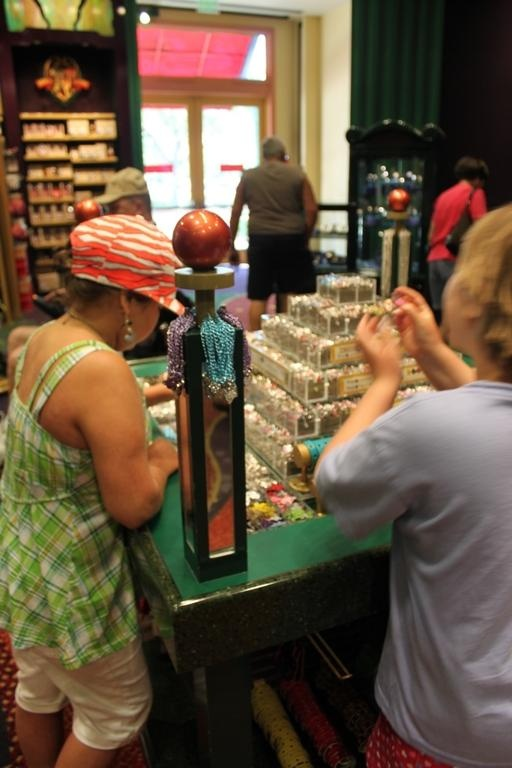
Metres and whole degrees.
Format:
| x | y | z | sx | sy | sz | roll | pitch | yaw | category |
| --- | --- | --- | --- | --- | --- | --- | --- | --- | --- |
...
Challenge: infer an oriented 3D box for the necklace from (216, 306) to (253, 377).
| x | y | z | sx | sy | sz | roll | pitch | yaw | category |
| --- | --- | --- | --- | --- | --- | --- | --- | --- | --- |
| -0.033 | -0.066 | 0.894 | 0.070 | 0.093 | 0.034 | 8 | -12 | 2 | necklace |

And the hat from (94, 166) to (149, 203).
| x | y | z | sx | sy | sz | roll | pitch | yaw | category |
| --- | --- | --- | --- | --- | --- | --- | --- | --- | --- |
| -0.943 | -1.370 | 4.190 | 0.373 | 0.206 | 0.244 | -22 | 39 | -27 | hat |

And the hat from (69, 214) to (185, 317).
| x | y | z | sx | sy | sz | roll | pitch | yaw | category |
| --- | --- | --- | --- | --- | --- | --- | --- | --- | --- |
| -0.208 | -0.206 | 1.038 | 0.265 | 0.170 | 0.144 | 13 | 24 | 37 | hat |

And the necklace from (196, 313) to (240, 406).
| x | y | z | sx | sy | sz | roll | pitch | yaw | category |
| --- | --- | --- | --- | --- | --- | --- | --- | --- | --- |
| -0.051 | -0.035 | 0.827 | 0.044 | 0.116 | 0.042 | 2 | 19 | 10 | necklace |

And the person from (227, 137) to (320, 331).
| x | y | z | sx | sy | sz | roll | pitch | yaw | category |
| --- | --- | --- | --- | --- | --- | --- | --- | --- | --- |
| 0.157 | -1.114 | 4.855 | 0.676 | 1.309 | 0.269 | 0 | 19 | 4 | person |

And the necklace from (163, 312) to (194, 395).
| x | y | z | sx | sy | sz | roll | pitch | yaw | category |
| --- | --- | --- | --- | --- | --- | --- | --- | --- | --- |
| -0.113 | -0.054 | 0.878 | 0.052 | 0.117 | 0.137 | -4 | 19 | -6 | necklace |

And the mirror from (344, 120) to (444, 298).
| x | y | z | sx | sy | sz | roll | pitch | yaw | category |
| --- | --- | --- | --- | --- | --- | --- | --- | --- | --- |
| 0.975 | -1.181 | 4.401 | 0.706 | 1.473 | 0.380 | 4 | -12 | 5 | mirror |
